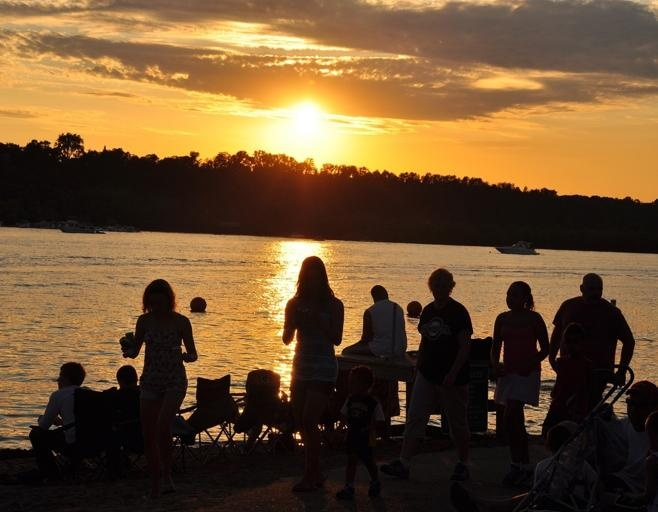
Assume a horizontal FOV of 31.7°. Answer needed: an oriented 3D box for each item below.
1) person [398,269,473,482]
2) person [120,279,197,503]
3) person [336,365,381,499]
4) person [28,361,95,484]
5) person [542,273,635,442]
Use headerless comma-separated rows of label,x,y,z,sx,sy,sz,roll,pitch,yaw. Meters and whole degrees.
person,1.288,1.369,13.484,0.808,2.460,0.493,4,4,6
person,-1.870,1.492,13.162,0.731,2.450,0.483,4,4,8
person,0.382,1.979,13.069,0.489,1.427,0.550,3,4,2
person,-3.330,2.029,14.289,0.621,1.416,0.387,2,4,-14
person,3.185,1.323,14.179,0.980,2.226,0.705,5,13,20
